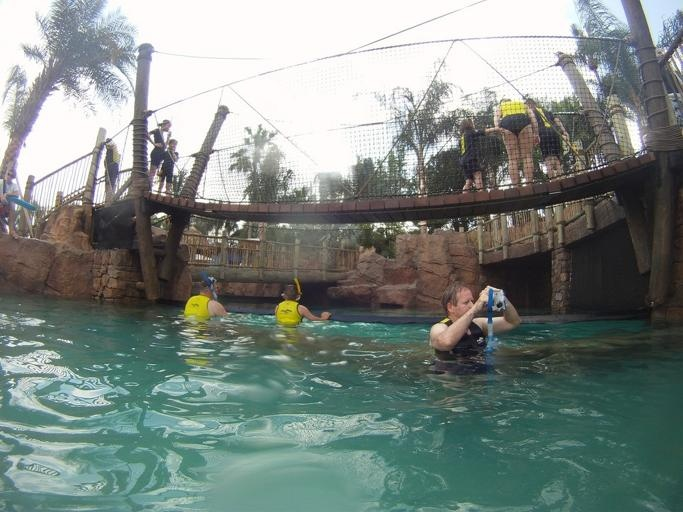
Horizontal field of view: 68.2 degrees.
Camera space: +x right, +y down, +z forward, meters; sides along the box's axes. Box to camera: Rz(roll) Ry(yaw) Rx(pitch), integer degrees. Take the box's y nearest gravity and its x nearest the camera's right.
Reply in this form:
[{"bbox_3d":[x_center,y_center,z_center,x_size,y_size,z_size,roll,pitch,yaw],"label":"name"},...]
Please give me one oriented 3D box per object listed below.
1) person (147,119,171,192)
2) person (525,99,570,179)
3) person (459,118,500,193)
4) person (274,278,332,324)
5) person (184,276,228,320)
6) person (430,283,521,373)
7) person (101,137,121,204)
[{"bbox_3d":[-4.064,-2.277,11.349,0.463,1.549,1.229,-2,9,-19],"label":"person"},{"bbox_3d":[3.612,-2.046,8.756,0.909,1.365,0.620,-6,10,-37],"label":"person"},{"bbox_3d":[2.408,-1.871,9.289,0.494,1.357,0.923,2,8,12],"label":"person"},{"bbox_3d":[-0.766,0.821,8.176,0.447,0.766,0.827,4,9,24],"label":"person"},{"bbox_3d":[-2.213,0.653,8.423,0.673,0.846,0.596,12,10,25],"label":"person"},{"bbox_3d":[1.373,0.711,5.372,0.844,0.806,1.352,5,9,25],"label":"person"},{"bbox_3d":[-6.149,-2.306,13.611,0.412,1.642,0.770,-3,9,-25],"label":"person"}]
